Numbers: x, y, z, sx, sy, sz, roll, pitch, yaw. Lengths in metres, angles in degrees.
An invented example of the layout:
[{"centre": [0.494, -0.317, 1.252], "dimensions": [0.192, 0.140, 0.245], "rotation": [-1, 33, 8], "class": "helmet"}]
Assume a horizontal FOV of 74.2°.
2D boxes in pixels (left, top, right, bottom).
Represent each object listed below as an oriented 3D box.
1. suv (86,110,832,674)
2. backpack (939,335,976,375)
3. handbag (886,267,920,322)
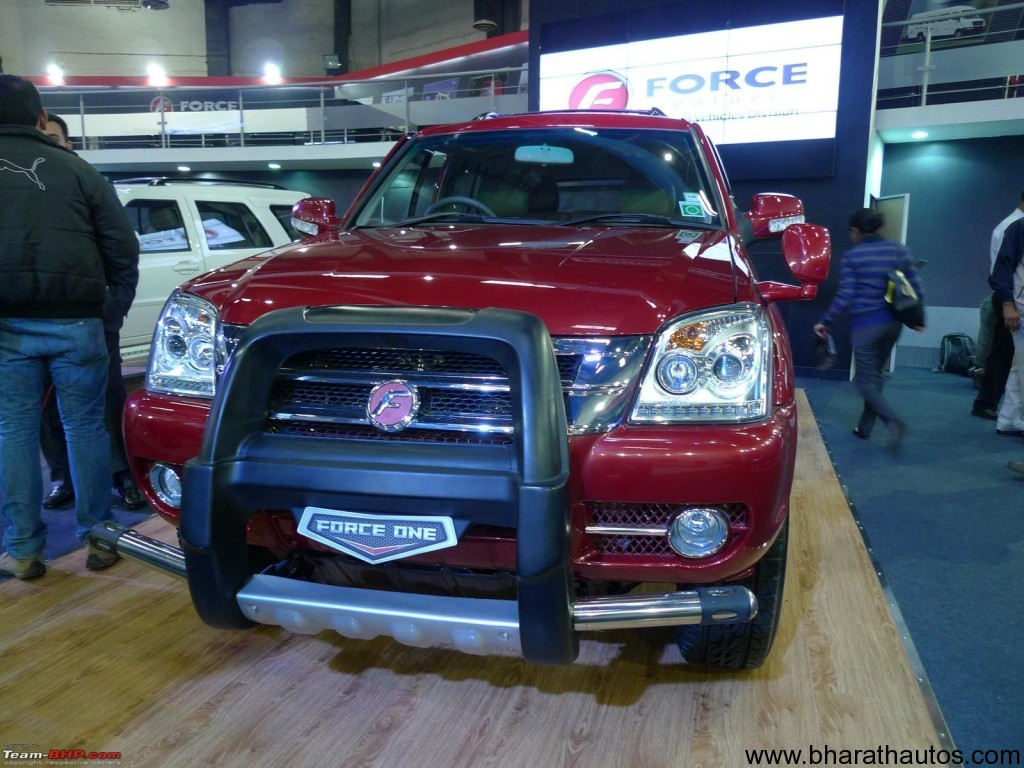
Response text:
[{"centre": [0.213, -0.225, 2.922], "dimensions": [1.989, 1.201, 2.980], "rotation": [1, 5, 16], "class": "suv"}, {"centre": [5.448, -0.336, 8.196], "dimensions": [0.340, 0.468, 0.585], "rotation": [8, 14, 28], "class": "backpack"}, {"centre": [2.826, -0.604, 4.814], "dimensions": [0.265, 0.398, 0.361], "rotation": [8, 15, 26], "class": "handbag"}]
